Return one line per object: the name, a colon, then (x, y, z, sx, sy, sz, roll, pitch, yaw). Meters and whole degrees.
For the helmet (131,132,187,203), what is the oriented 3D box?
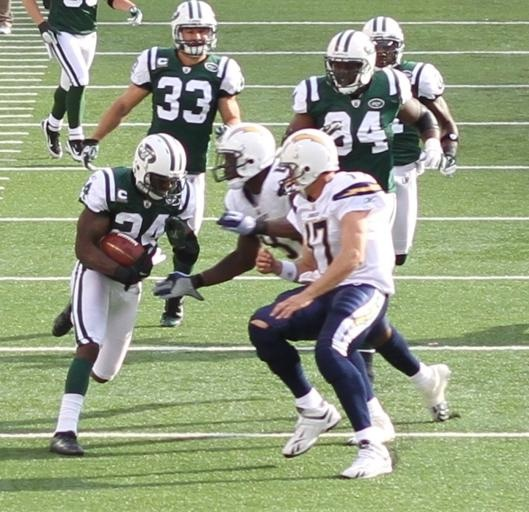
helmet: (-0.519, -0.457, 4.760, 0.239, 0.211, 0.278, 2, 17, -35)

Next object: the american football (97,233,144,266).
american football: (-0.701, -0.038, 4.777, 0.219, 0.103, 0.128, 25, 15, -4)

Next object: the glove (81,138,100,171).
glove: (-1.118, -0.648, 6.303, 0.131, 0.107, 0.298, -3, -18, -11)

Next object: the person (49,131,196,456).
person: (-0.730, 0.136, 4.760, 0.612, 1.455, 1.053, 17, 22, 2)

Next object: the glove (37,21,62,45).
glove: (-1.925, -1.935, 8.466, 0.216, 0.089, 0.149, 42, -14, 19)

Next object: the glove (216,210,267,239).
glove: (-0.110, -0.153, 4.609, 0.191, 0.061, 0.091, 13, 42, -15)

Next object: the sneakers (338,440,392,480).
sneakers: (0.455, 0.894, 4.275, 0.337, 0.148, 0.125, -2, 4, -38)

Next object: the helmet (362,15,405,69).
helmet: (0.654, -1.313, 5.974, 0.328, 0.253, 0.341, 0, 20, -11)

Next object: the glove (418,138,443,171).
glove: (1.000, -0.615, 5.870, 0.157, 0.167, 0.071, -3, 40, 1)

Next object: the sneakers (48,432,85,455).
sneakers: (-0.900, 0.860, 4.437, 0.092, 0.057, 0.182, 7, -9, -36)

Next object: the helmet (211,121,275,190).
helmet: (-0.080, -0.508, 4.821, 0.375, 0.208, 0.229, -4, 7, 12)

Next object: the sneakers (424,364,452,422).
sneakers: (0.851, 0.683, 4.823, 0.130, 0.268, 0.147, 3, 24, 23)

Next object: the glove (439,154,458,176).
glove: (1.176, -0.563, 6.060, 0.188, 0.116, 0.108, 2, 2, 8)

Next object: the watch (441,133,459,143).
watch: (1.161, -0.739, 6.151, 0.096, 0.035, 0.078, 5, 1, 5)

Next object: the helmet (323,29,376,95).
helmet: (0.403, -0.997, 5.215, 0.292, 0.226, 0.305, 0, 0, 0)
